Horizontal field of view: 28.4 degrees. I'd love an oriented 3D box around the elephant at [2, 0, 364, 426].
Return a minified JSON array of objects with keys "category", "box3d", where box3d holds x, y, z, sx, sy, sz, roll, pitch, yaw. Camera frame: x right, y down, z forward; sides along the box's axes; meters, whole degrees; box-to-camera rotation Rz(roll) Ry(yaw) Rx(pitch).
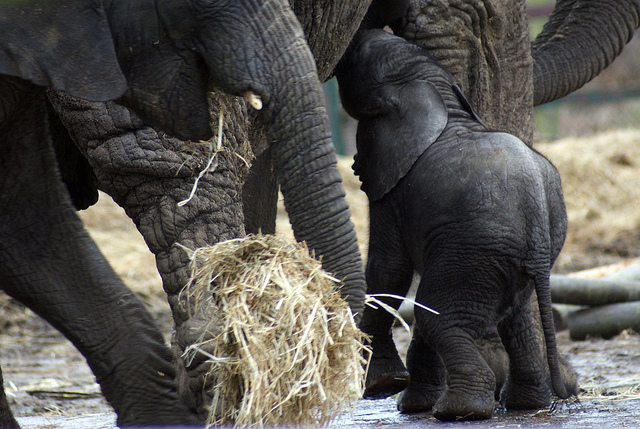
[{"category":"elephant","box3d":[-0.544,0.009,4.593,1.189,1.489,0.797,-3,-5,-14]}]
